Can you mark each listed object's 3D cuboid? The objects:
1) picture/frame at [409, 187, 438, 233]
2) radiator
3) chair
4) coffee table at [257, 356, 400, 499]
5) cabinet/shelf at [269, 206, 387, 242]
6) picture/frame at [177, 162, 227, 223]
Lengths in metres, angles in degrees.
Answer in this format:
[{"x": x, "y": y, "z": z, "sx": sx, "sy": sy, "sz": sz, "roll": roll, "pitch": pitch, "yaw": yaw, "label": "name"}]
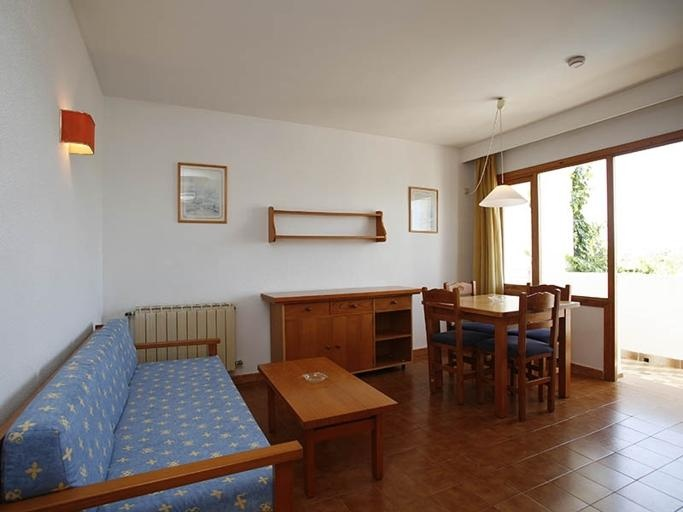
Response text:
[{"x": 1.045, "y": -0.579, "z": 6.105, "sx": 0.027, "sy": 0.567, "sz": 0.451, "roll": -14, "pitch": 17, "yaw": -43, "label": "picture/frame"}, {"x": -1.518, "y": 0.748, "z": 4.449, "sx": 0.641, "sy": 0.574, "sz": 0.102, "roll": -1, "pitch": 3, "yaw": -24, "label": "radiator"}, {"x": 1.441, "y": 0.728, "z": 4.670, "sx": 1.028, "sy": 1.314, "sz": 1.342, "roll": 0, "pitch": -1, "yaw": -27, "label": "chair"}, {"x": -0.091, "y": 0.936, "z": 3.442, "sx": 0.619, "sy": 0.547, "sz": 1.168, "roll": -4, "pitch": 6, "yaw": -23, "label": "coffee table"}, {"x": -0.151, "y": -0.336, "z": 5.438, "sx": 1.305, "sy": 0.413, "sz": 0.228, "roll": 0, "pitch": -2, "yaw": -16, "label": "cabinet/shelf"}, {"x": -1.440, "y": -0.641, "z": 4.852, "sx": 0.595, "sy": 0.768, "sz": 0.050, "roll": -1, "pitch": 4, "yaw": -30, "label": "picture/frame"}]
